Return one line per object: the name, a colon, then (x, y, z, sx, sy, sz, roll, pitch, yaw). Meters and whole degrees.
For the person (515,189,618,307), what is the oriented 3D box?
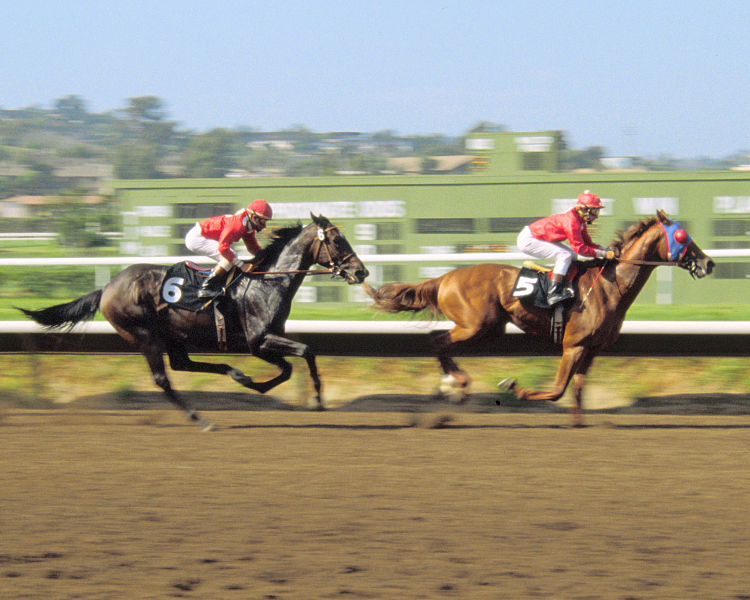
person: (1.245, -0.327, 10.450, 0.483, 0.730, 0.409, -4, 8, -13)

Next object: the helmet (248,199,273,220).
helmet: (-0.766, -0.584, 10.551, 0.145, 0.127, 0.174, -2, 6, 2)

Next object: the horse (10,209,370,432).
horse: (-1.196, 0.157, 10.868, 3.131, 1.248, 0.659, -1, 3, 35)

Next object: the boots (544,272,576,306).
boots: (1.209, -0.053, 10.327, 0.209, 0.210, 0.110, -4, 8, -18)

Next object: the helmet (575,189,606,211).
helmet: (1.367, -0.636, 10.408, 0.241, 0.097, 0.147, 3, 7, 15)

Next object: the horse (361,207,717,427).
horse: (1.122, 0.110, 10.735, 2.933, 1.203, 0.633, 0, 5, 40)
